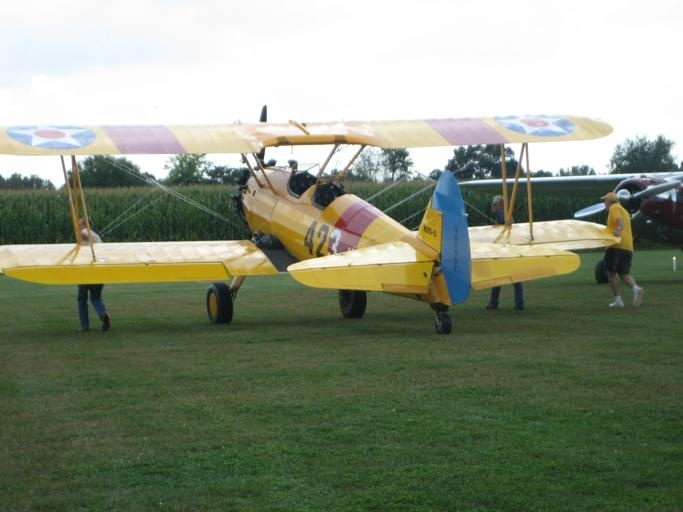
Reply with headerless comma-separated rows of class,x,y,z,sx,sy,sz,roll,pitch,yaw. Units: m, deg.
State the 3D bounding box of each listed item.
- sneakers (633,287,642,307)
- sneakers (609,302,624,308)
sneakers,4.506,0.627,11.674,0.120,0.294,0.134,-2,2,-20
sneakers,4.195,0.748,11.703,0.243,0.101,0.091,8,8,32
